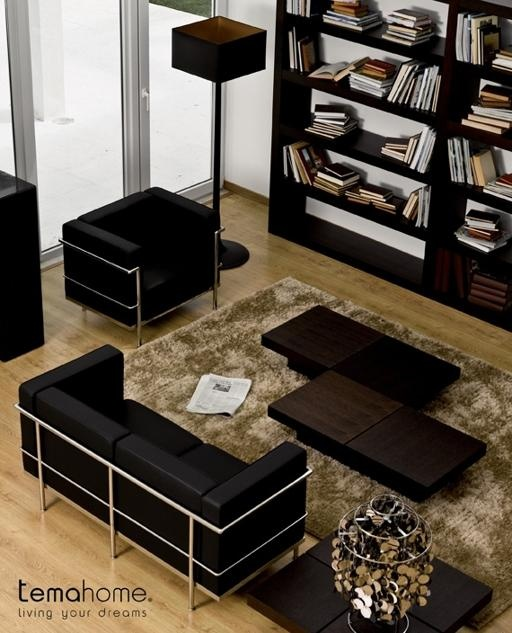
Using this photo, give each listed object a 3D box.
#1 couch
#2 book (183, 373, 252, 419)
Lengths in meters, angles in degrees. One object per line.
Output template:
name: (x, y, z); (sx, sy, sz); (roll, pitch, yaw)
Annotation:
couch: (-0.442, 0.710, 2.928); (1.349, 0.712, 0.645); (19, 30, 35)
book: (-0.246, 0.526, 4.099); (0.271, 0.053, 0.264); (9, 42, 13)
